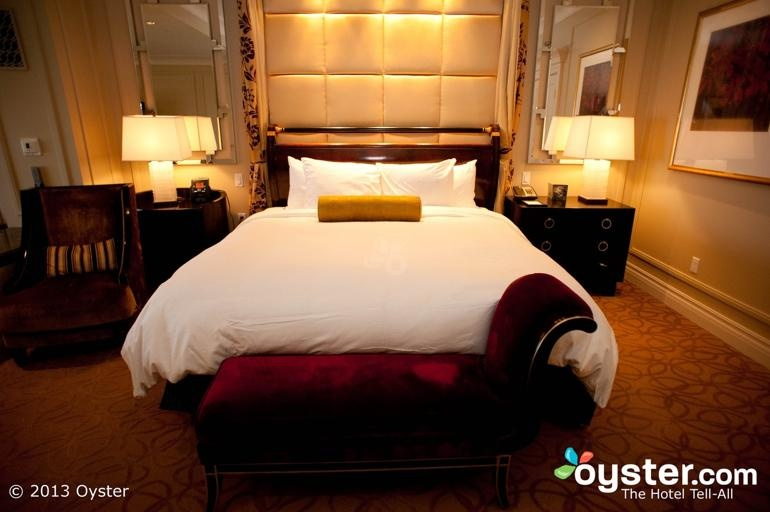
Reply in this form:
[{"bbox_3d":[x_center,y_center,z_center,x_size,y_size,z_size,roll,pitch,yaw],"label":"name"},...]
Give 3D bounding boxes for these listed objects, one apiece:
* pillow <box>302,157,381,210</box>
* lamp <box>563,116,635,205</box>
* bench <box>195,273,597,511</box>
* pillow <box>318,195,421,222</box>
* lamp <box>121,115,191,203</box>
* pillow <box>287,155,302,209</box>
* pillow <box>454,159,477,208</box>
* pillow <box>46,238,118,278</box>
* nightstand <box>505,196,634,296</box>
[{"bbox_3d":[-0.424,-0.664,4.699,0.549,0.326,0.158,-1,-19,-1],"label":"pillow"},{"bbox_3d":[2.104,-0.951,4.972,0.561,0.828,0.585,3,13,5],"label":"lamp"},{"bbox_3d":[0.021,0.848,3.623,2.391,1.374,1.266,1,18,-1],"label":"bench"},{"bbox_3d":[-0.144,-0.423,4.477,0.910,0.216,0.123,-1,17,-1],"label":"pillow"},{"bbox_3d":[-2.252,-0.976,5.031,0.613,0.924,0.645,0,20,-2],"label":"lamp"},{"bbox_3d":[-0.871,-0.723,4.871,0.164,0.455,0.308,-3,18,-8],"label":"pillow"},{"bbox_3d":[0.779,-0.710,4.903,0.214,0.415,0.327,1,17,7],"label":"pillow"},{"bbox_3d":[-2.592,0.018,4.280,0.494,0.296,0.132,-7,-8,-26],"label":"pillow"},{"bbox_3d":[2.104,0.000,5.226,1.148,0.958,0.696,1,-7,45],"label":"nightstand"}]
